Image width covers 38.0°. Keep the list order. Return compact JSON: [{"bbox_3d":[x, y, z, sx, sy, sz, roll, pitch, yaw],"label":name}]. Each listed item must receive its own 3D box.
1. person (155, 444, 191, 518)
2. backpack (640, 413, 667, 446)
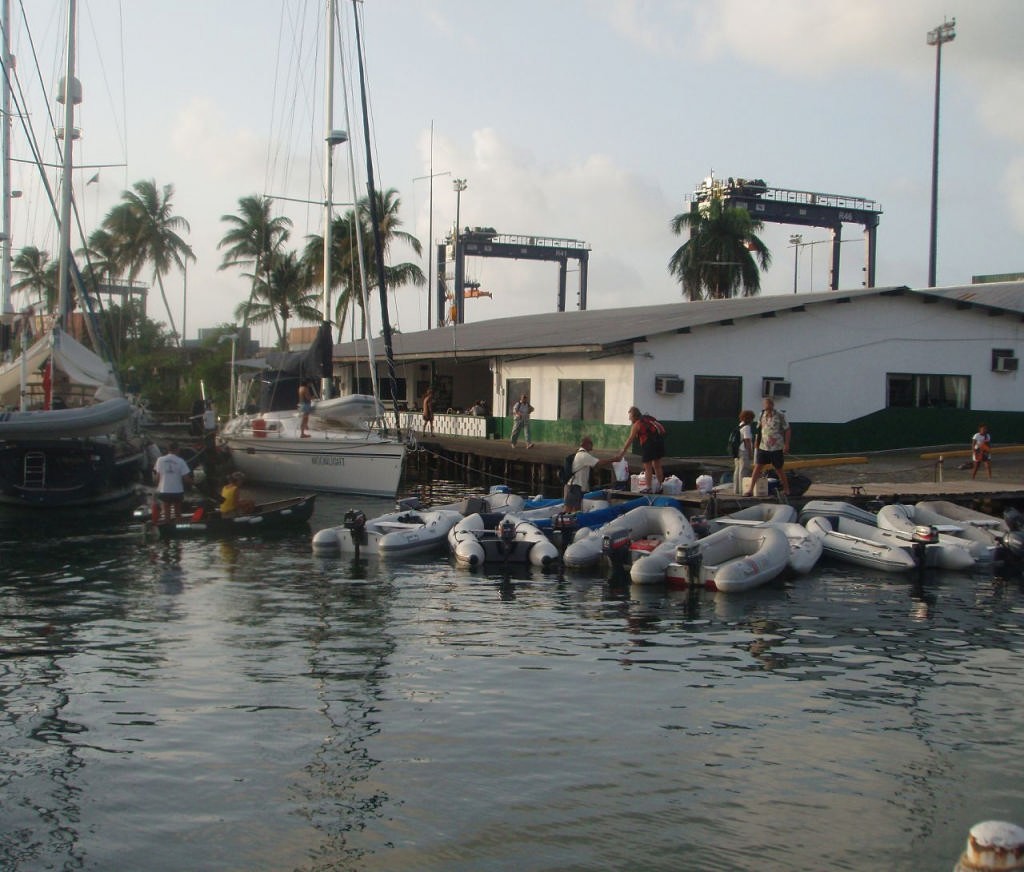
[{"bbox_3d":[-6.136,0.850,26.509,0.518,1.351,0.950,-3,9,-17],"label":"person"},{"bbox_3d":[2.500,-0.128,26.749,0.535,0.564,0.405,0,10,2],"label":"backpack"}]
